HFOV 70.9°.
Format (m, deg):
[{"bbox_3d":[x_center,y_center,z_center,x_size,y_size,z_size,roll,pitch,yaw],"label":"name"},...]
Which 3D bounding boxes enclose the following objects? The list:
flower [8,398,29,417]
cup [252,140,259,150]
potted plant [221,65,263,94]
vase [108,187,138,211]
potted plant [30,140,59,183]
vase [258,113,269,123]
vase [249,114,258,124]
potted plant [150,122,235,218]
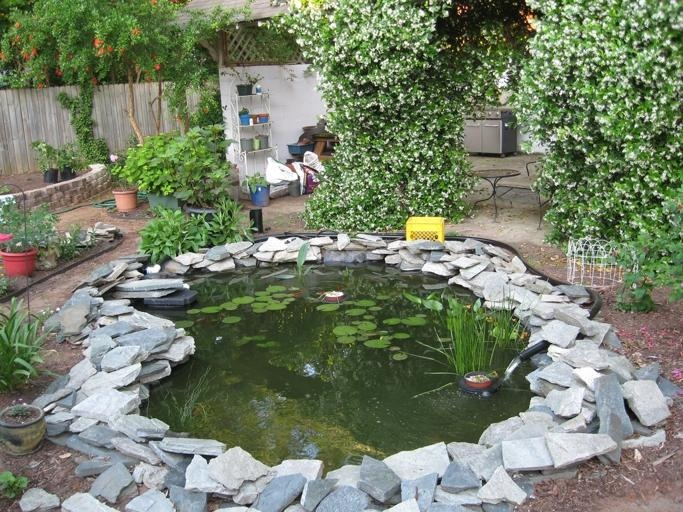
[{"bbox_3d":[-2.311,1.104,3.441,0.105,0.039,0.097,2,12,-3],"label":"flower"},{"bbox_3d":[-1.984,-2.617,11.260,0.166,0.232,0.070,-11,15,-22],"label":"cup"},{"bbox_3d":[-2.329,-4.151,11.361,0.975,0.707,0.661,-9,14,-17],"label":"potted plant"},{"bbox_3d":[-4.295,-1.108,9.540,0.534,0.349,0.489,0,16,-5],"label":"vase"},{"bbox_3d":[-6.372,-2.045,10.440,0.438,0.925,0.919,-14,16,-28],"label":"potted plant"},{"bbox_3d":[-1.857,-3.294,11.464,0.247,0.145,0.227,-2,9,-8],"label":"vase"},{"bbox_3d":[-2.064,-3.242,11.395,0.305,0.260,0.206,0,24,-4],"label":"vase"},{"bbox_3d":[-2.394,-1.454,7.963,1.169,1.316,0.862,-6,14,0],"label":"potted plant"}]
